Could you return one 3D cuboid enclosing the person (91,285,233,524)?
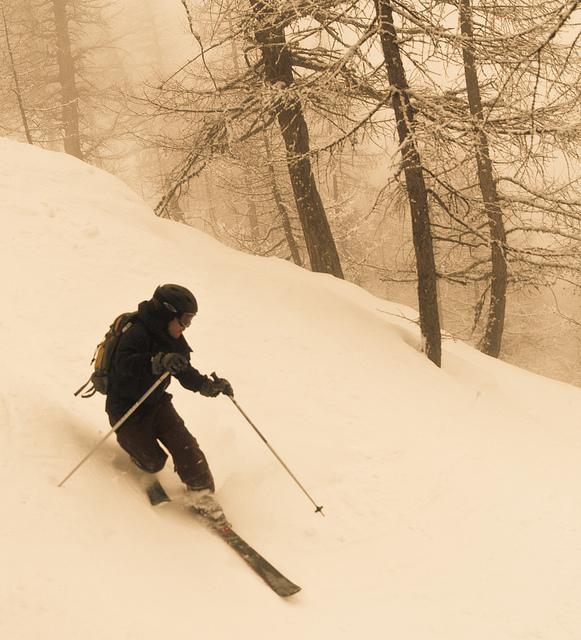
[{"bbox_3d":[-1.344,0.831,8.973,1.348,2.311,0.765,1,12,-5],"label":"person"}]
